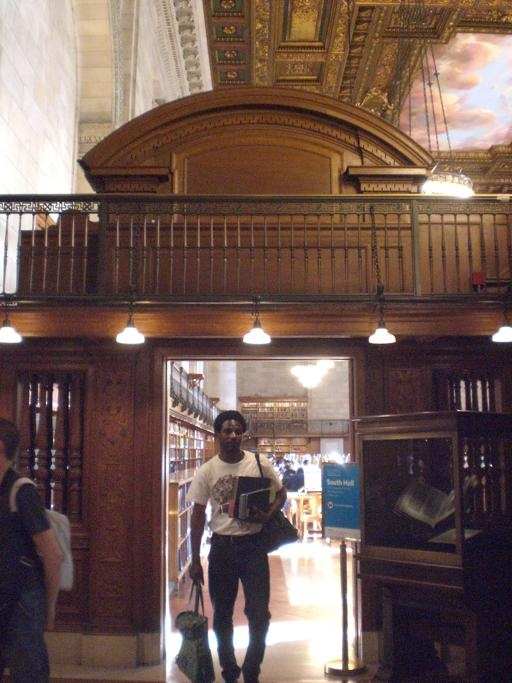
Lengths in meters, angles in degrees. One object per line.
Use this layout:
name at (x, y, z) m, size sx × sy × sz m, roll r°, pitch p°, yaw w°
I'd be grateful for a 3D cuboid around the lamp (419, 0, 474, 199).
lamp at (3.461, -4.284, 12.332) m, size 0.787 × 2.565 × 0.687 m, roll -23°, pitch 16°, yaw -39°

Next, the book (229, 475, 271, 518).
book at (-0.038, 0.917, 3.795) m, size 0.245 × 0.241 × 0.066 m, roll 1°, pitch 10°, yaw -26°

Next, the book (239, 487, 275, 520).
book at (-0.007, 0.960, 3.804) m, size 0.187 × 0.179 × 0.043 m, roll -2°, pitch 11°, yaw -30°

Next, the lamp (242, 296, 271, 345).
lamp at (0.003, -0.180, 4.635) m, size 0.146 × 0.292 × 0.144 m, roll 1°, pitch -16°, yaw -10°
